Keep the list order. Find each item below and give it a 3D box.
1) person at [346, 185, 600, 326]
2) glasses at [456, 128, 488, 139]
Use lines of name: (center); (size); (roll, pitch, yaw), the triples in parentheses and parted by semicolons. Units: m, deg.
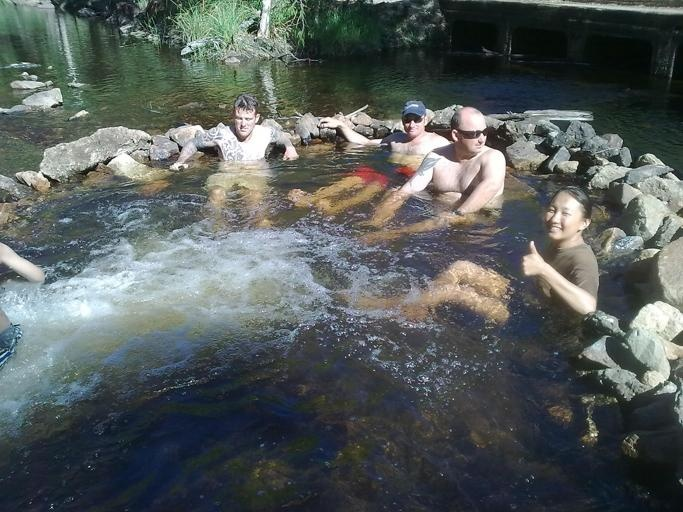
person: (1.322, -0.010, 5.256); (2.553, 1.277, 1.086); (0, 45, 4)
glasses: (1.629, -1.506, 6.561); (0.367, 0.118, 0.151); (-6, 25, -11)
